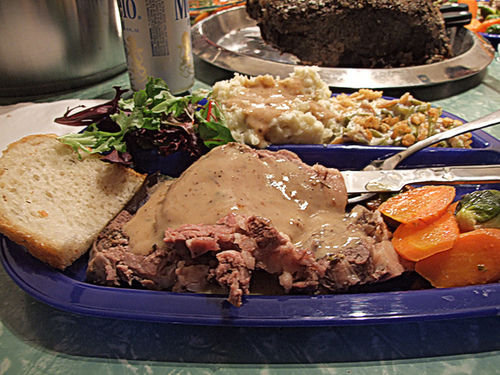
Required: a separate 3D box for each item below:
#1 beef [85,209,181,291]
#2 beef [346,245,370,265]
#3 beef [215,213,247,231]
[{"bbox_3d":[-0.447,0.239,1.773,0.323,0.069,0.247,5,43,5],"label":"beef"},{"bbox_3d":[0.408,0.254,1.735,0.079,0.032,0.088,11,38,16],"label":"beef"},{"bbox_3d":[-0.061,0.122,1.688,0.122,0.030,0.064,11,39,16],"label":"beef"}]
